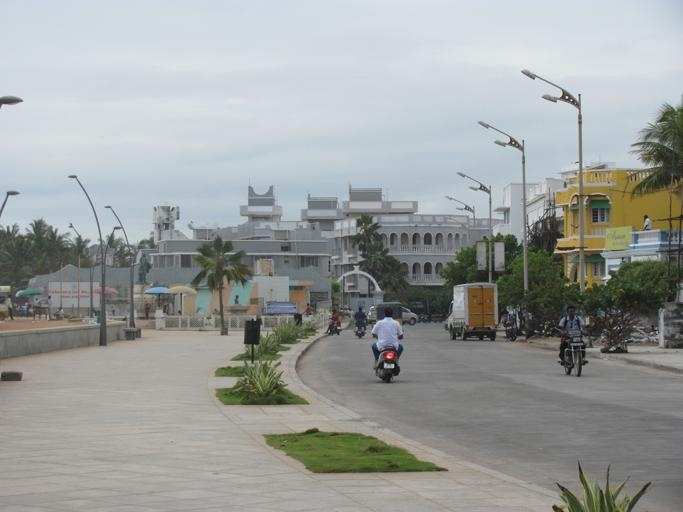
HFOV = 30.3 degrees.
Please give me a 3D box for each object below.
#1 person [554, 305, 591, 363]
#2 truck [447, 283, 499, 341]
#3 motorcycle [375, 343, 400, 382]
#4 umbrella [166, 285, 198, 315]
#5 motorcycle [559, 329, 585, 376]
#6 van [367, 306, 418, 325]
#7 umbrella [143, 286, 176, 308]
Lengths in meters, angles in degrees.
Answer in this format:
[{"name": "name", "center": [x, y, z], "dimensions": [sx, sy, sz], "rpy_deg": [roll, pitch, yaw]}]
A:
[{"name": "person", "center": [6.551, 2.208, 35.678], "dimensions": [0.693, 1.567, 0.805], "rpy_deg": [-4, 1, 1]}, {"name": "truck", "center": [6.225, 2.689, 60.326], "dimensions": [2.020, 2.799, 3.166], "rpy_deg": [-1, -4, -9]}, {"name": "motorcycle", "center": [1.233, 2.885, 33.309], "dimensions": [0.632, 0.933, 0.647], "rpy_deg": [-2, -3, 1]}, {"name": "umbrella", "center": [-13.040, 3.712, 104.634], "dimensions": [2.351, 2.349, 2.365], "rpy_deg": [3, 6, 19]}, {"name": "motorcycle", "center": [6.552, 2.773, 35.396], "dimensions": [0.519, 1.229, 1.144], "rpy_deg": [-1, -3, -14]}, {"name": "van", "center": [4.370, 4.858, 100.052], "dimensions": [3.289, 1.751, 1.921], "rpy_deg": [-3, 0, 3]}, {"name": "umbrella", "center": [-15.367, 3.576, 107.706], "dimensions": [1.957, 1.663, 2.009], "rpy_deg": [-1, -5, 6]}]
